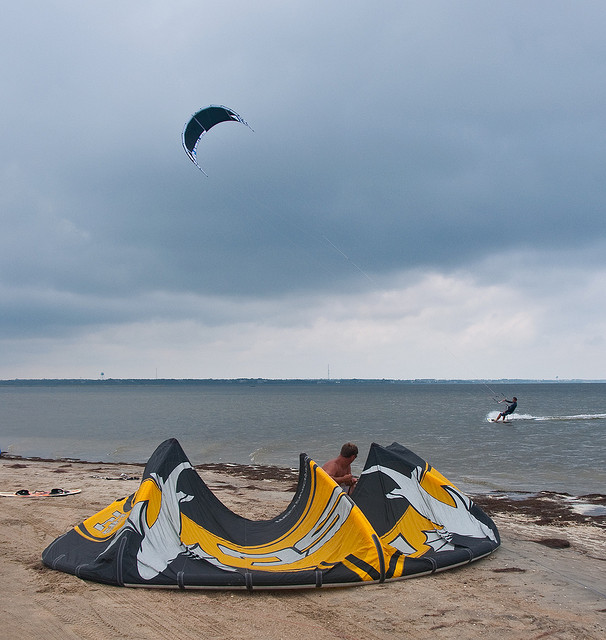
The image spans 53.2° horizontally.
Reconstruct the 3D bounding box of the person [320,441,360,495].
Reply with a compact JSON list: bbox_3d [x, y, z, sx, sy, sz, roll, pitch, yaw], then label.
[{"bbox_3d":[0.765,3.009,12.285,0.648,1.033,1.354,1,-8,1],"label":"person"}]

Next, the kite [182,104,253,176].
[{"bbox_3d":[-3.202,-6.256,20.691,1.471,2.048,1.827,1,-8,-1],"label":"kite"}]
